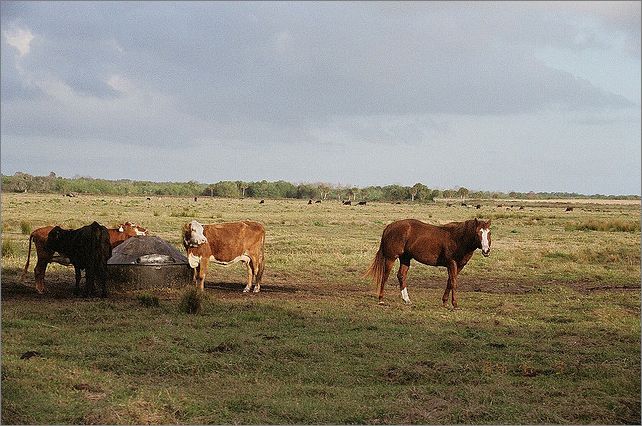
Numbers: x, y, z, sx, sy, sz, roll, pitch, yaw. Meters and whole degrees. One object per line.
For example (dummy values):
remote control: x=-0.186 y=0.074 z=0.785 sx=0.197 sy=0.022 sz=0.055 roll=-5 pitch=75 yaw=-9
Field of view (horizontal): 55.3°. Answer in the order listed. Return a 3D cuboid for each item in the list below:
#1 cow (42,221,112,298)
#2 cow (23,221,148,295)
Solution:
cow: x=-8.529 y=1.675 z=22.172 sx=1.033 sy=2.564 sz=3.952 roll=-2 pitch=1 yaw=-35
cow: x=-9.025 y=1.700 z=23.022 sx=4.465 sy=2.397 sz=1.237 roll=1 pitch=-2 yaw=-41
